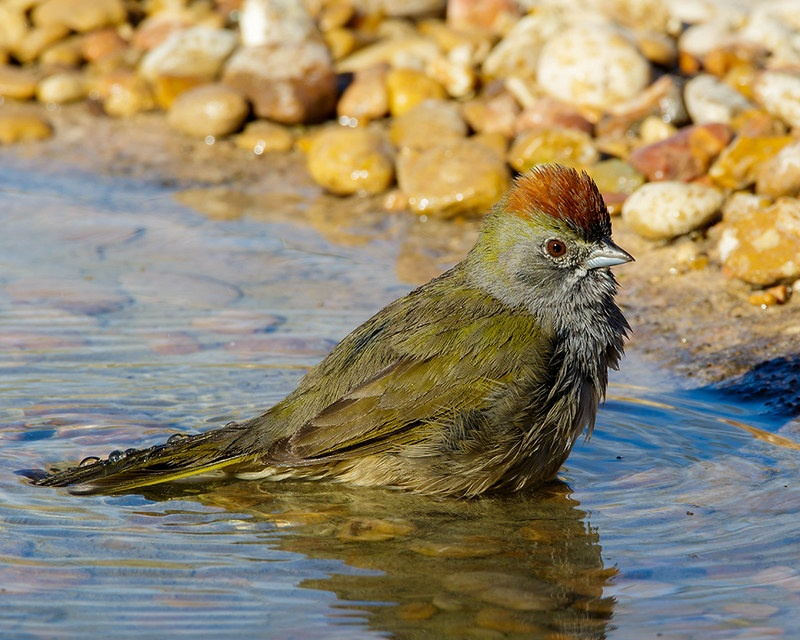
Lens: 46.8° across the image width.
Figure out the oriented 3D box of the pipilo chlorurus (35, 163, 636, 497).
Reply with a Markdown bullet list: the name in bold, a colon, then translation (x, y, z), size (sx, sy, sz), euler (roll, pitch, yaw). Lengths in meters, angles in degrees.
- **pipilo chlorurus**: translation (0.283, 0.183, 5.152), size (1.851, 2.098, 2.001), euler (33, 37, 12)
